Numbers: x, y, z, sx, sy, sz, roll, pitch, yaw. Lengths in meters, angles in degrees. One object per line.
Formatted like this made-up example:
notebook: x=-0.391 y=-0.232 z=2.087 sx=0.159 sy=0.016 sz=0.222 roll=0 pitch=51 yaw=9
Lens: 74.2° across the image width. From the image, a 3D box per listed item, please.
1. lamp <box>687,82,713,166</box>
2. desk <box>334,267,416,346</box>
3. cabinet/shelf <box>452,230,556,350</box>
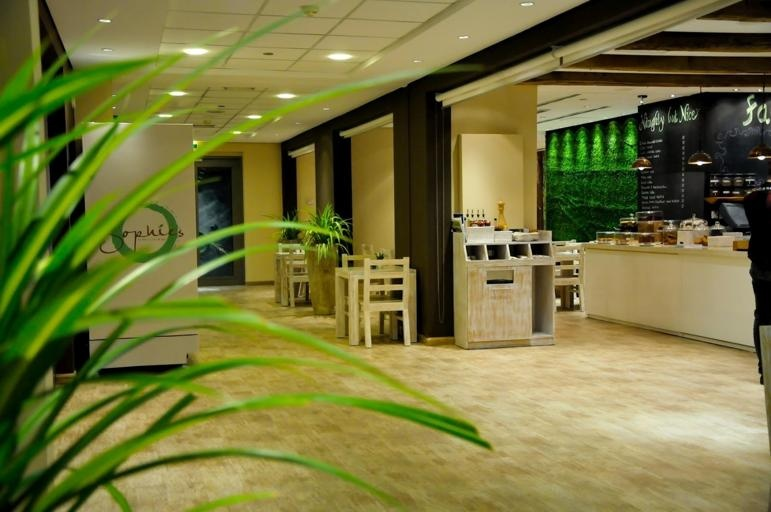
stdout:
lamp: x=6.284 y=-2.623 z=10.143 sx=0.392 sy=1.612 sz=1.598 roll=1 pitch=4 yaw=32
desk: x=-0.169 y=0.618 z=7.336 sx=0.839 sy=0.997 sz=1.365 roll=0 pitch=2 yaw=-14
cabinet/shelf: x=1.505 y=0.461 z=6.678 sx=1.562 sy=1.908 sz=0.737 roll=0 pitch=-2 yaw=-13
